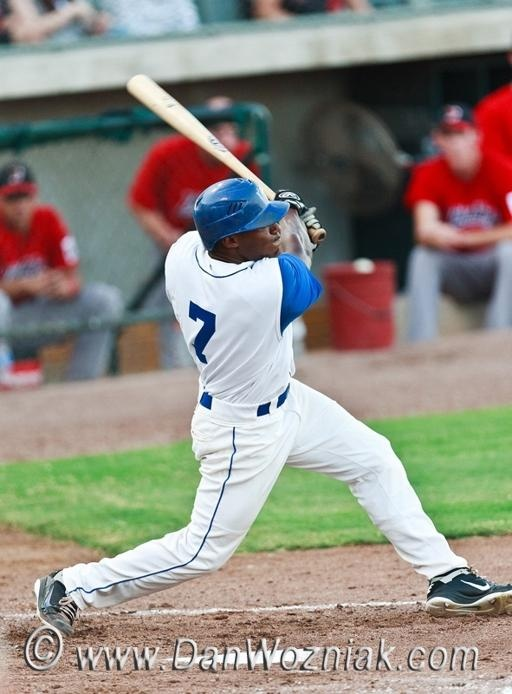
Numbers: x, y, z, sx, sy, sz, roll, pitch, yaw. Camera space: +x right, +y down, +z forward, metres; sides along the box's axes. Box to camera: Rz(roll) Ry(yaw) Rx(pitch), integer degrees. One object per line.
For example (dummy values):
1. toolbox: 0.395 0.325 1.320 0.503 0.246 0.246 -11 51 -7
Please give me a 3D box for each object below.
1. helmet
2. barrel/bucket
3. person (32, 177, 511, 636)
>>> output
1. helmet: -0.050 -0.354 2.690 0.261 0.129 0.172 -17 39 -9
2. barrel/bucket: 0.848 -0.303 7.358 0.648 0.593 0.572 -3 5 14
3. person: -0.002 0.158 2.844 1.223 1.187 0.415 -6 10 -15
